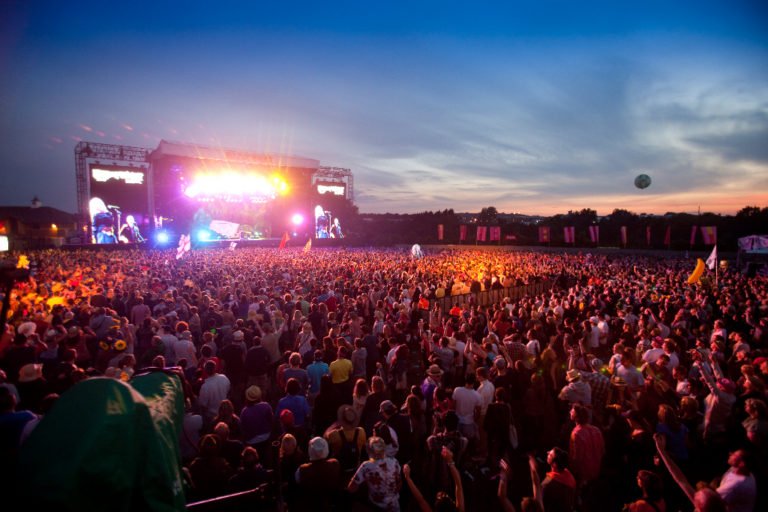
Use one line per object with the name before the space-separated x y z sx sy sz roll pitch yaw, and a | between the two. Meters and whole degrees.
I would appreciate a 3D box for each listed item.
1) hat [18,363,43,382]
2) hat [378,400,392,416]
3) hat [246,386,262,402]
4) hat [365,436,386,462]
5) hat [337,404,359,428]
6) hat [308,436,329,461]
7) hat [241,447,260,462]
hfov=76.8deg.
hat | -6.738 2.171 9.240 0.355 0.310 0.526 -3 5 -39
hat | 0.052 2.599 8.456 0.237 0.239 0.274 0 4 1
hat | -2.331 2.446 8.693 0.249 0.321 0.265 -2 4 -20
hat | -0.135 2.890 7.314 0.251 0.333 0.335 4 -24 -3
hat | -0.586 2.643 8.071 0.325 0.369 0.210 -1 4 -11
hat | -1.020 2.894 7.508 0.284 0.305 0.376 1 12 -10
hat | -2.080 3.033 7.521 0.236 0.234 0.247 -2 4 -25
